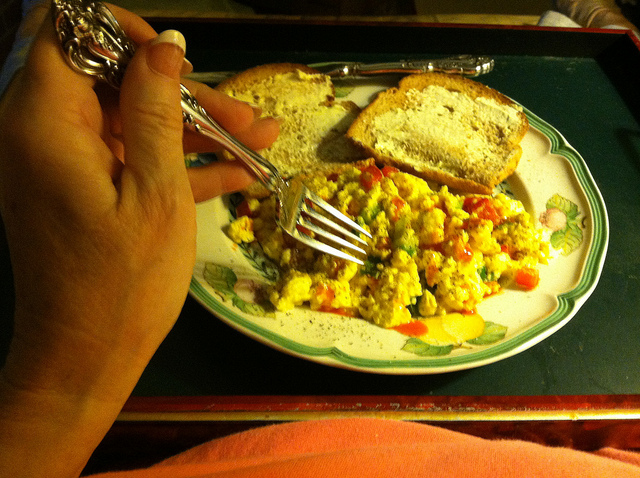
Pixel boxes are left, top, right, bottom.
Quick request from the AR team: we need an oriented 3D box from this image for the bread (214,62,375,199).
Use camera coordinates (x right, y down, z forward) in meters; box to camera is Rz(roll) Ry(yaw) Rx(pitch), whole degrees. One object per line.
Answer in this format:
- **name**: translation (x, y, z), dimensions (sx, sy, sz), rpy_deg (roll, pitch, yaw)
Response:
- **bread**: translation (-0.044, -0.270, 1.846), dimensions (0.372, 0.109, 0.446), rpy_deg (-10, 72, 1)

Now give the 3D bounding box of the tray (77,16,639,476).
- **tray**: translation (0.392, 0.119, 1.821), dimensions (1.459, 0.235, 1.176), rpy_deg (4, 55, 1)
